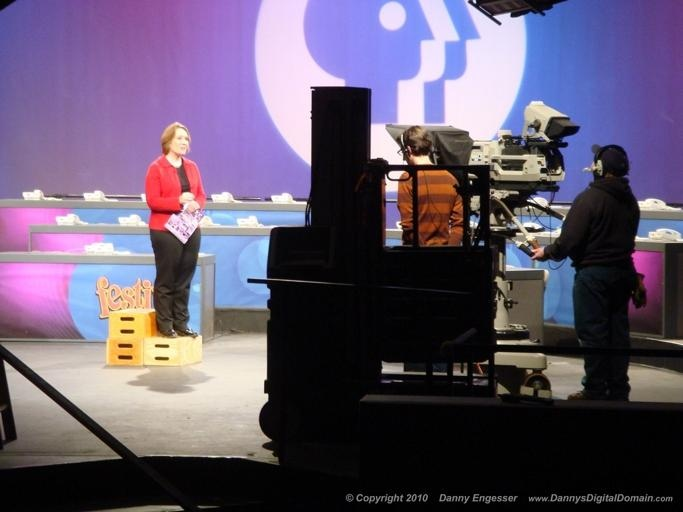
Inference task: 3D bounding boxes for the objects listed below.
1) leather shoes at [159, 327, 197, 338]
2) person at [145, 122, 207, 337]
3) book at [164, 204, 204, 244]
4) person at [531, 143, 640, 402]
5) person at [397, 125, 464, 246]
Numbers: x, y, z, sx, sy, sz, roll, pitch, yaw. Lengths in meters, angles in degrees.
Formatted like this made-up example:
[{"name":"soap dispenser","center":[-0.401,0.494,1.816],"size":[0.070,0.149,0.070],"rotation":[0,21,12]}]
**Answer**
[{"name":"leather shoes","center":[-1.494,0.707,6.924],"size":[0.347,0.104,0.123],"rotation":[0,1,-15]},{"name":"person","center":[-1.506,-0.258,6.953],"size":[0.543,1.955,0.448],"rotation":[-6,11,-32]},{"name":"book","center":[-1.414,-0.307,6.846],"size":[0.317,0.307,0.075],"rotation":[-47,35,-19]},{"name":"person","center":[1.909,0.139,5.726],"size":[0.628,1.957,0.850],"rotation":[4,10,25]},{"name":"person","center":[0.627,-0.503,5.331],"size":[0.460,0.860,0.859],"rotation":[1,10,8]}]
